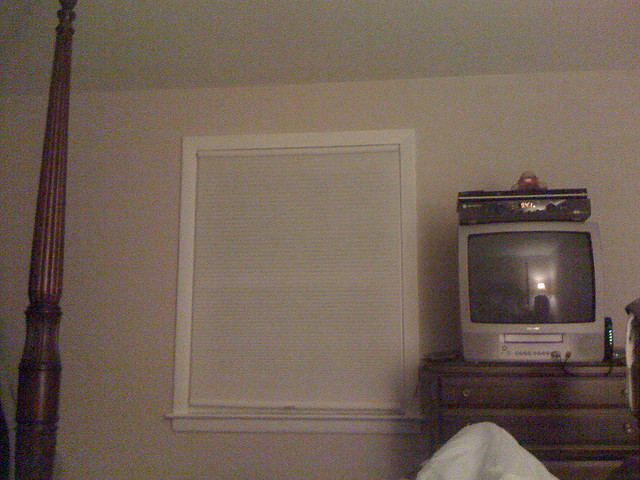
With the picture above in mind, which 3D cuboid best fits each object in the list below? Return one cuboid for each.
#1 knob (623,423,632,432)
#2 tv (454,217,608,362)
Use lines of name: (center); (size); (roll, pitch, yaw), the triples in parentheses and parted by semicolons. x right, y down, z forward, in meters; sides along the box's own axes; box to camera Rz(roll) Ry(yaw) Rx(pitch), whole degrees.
knob: (1.633, 0.996, 5.321); (0.035, 0.046, 0.053); (5, -6, -9)
tv: (1.261, 0.326, 5.735); (1.137, 0.728, 0.934); (-2, -20, 12)
